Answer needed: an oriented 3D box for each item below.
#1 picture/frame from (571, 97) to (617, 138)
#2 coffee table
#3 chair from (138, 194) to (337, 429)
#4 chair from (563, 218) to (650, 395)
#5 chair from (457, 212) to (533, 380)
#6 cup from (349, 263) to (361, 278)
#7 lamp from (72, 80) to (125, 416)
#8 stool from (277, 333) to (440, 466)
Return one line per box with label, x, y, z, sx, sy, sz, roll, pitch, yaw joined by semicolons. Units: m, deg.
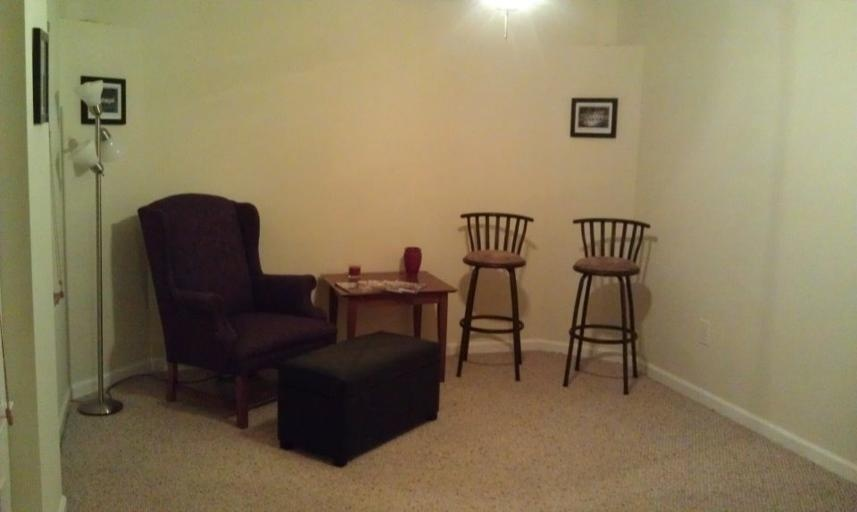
picture/frame;1.499;-1.242;5.684;0.419;0.351;0.035;0;4;-1
coffee table;-0.346;0.568;5.459;0.689;0.587;0.817;-4;5;-2
chair;-1.383;0.306;5.640;1.771;2.081;1.704;6;8;26
chair;1.545;0.381;5.472;0.680;1.374;0.889;5;11;13
chair;0.564;0.314;5.625;0.660;1.373;0.756;4;11;8
cup;-0.613;0.124;5.274;0.090;0.092;0.136;1;10;-11
lamp;-2.503;-0.082;4.714;0.304;2.449;0.798;-3;12;-26
stool;-0.362;1.005;4.704;1.450;0.746;0.815;-9;-11;25
